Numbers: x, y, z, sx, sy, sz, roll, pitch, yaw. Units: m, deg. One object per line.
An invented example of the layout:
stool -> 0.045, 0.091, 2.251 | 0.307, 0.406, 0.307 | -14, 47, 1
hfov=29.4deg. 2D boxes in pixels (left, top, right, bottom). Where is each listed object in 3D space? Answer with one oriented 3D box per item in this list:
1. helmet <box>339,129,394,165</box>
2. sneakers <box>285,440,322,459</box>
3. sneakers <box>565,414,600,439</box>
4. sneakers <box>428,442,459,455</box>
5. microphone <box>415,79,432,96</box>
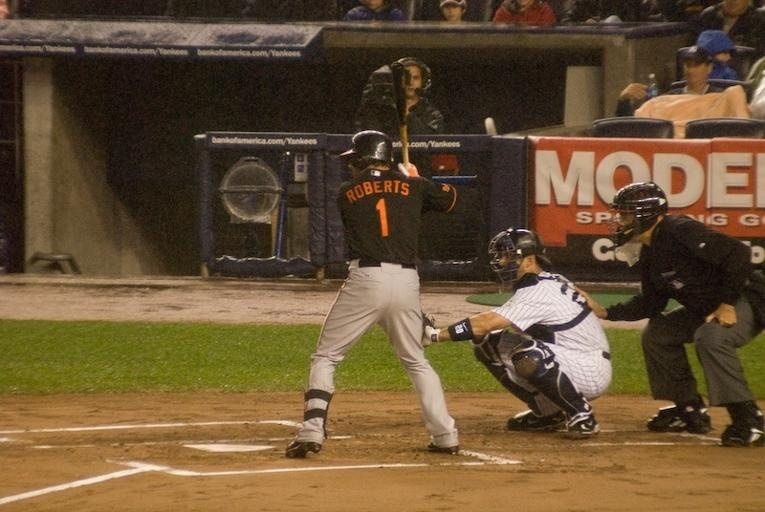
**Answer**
helmet -> -0.186, -1.288, 17.039 | 0.696, 0.306, 0.443 | 3, -4, 11
sneakers -> -0.873, 2.200, 16.498 | 0.430, 0.158, 0.192 | 0, -6, -1
sneakers -> 2.360, 1.999, 17.157 | 0.216, 0.208, 0.498 | -9, 9, -34
sneakers -> 0.707, 2.206, 16.736 | 0.366, 0.124, 0.125 | 5, -1, 15
microphone -> 0.685, -2.689, 23.136 | 0.278, 0.247, 0.322 | -1, 6, 0
